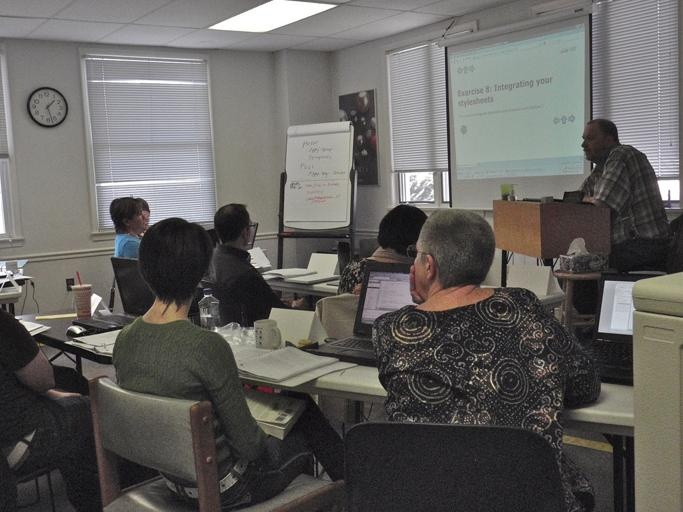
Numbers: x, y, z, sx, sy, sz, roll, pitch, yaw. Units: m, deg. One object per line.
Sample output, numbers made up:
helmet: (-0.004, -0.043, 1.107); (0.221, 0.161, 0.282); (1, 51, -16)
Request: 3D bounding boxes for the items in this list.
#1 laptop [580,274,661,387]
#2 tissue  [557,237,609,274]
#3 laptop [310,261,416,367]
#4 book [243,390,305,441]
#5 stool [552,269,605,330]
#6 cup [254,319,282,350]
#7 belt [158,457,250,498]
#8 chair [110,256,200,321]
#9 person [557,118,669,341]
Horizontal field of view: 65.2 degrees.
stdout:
laptop: (0.958, 0.245, 1.811); (0.358, 0.217, 0.278); (11, 15, 43)
tissue : (1.701, -0.021, 3.765); (0.312, 0.231, 0.171); (-3, 3, -19)
laptop: (0.093, 0.210, 2.069); (0.427, 0.312, 0.404); (-12, 5, -39)
book: (-0.255, 0.552, 1.927); (0.266, 0.063, 0.278); (6, 8, 0)
stool: (1.753, 0.369, 3.831); (0.392, 0.519, 0.408); (0, 1, 12)
cup: (-0.297, 0.319, 2.199); (0.081, 0.111, 0.127); (-3, 9, -42)
belt: (-0.378, 0.662, 1.554); (0.144, 0.034, 0.145); (-4, 6, -39)
chair: (-0.766, 0.133, 2.179); (0.315, 0.223, 0.183); (12, 17, 44)
person: (2.254, -0.258, 4.469); (0.900, 1.708, 0.747); (-2, -1, 35)
